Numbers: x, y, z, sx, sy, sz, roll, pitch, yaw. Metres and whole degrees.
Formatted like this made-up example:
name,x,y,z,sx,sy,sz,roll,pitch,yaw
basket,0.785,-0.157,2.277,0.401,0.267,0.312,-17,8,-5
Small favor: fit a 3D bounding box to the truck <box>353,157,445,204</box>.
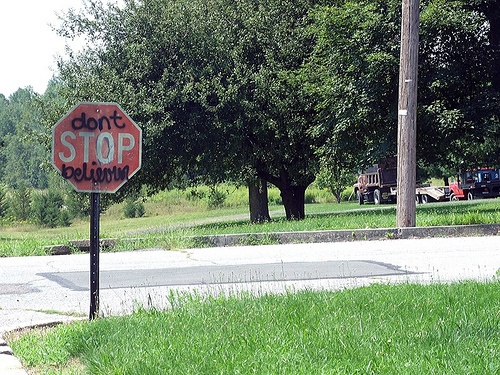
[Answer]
name,x,y,z,sx,sy,sz,roll,pitch,yaw
truck,8.527,-0.239,54.598,5.155,2.596,2.085,-1,4,11
